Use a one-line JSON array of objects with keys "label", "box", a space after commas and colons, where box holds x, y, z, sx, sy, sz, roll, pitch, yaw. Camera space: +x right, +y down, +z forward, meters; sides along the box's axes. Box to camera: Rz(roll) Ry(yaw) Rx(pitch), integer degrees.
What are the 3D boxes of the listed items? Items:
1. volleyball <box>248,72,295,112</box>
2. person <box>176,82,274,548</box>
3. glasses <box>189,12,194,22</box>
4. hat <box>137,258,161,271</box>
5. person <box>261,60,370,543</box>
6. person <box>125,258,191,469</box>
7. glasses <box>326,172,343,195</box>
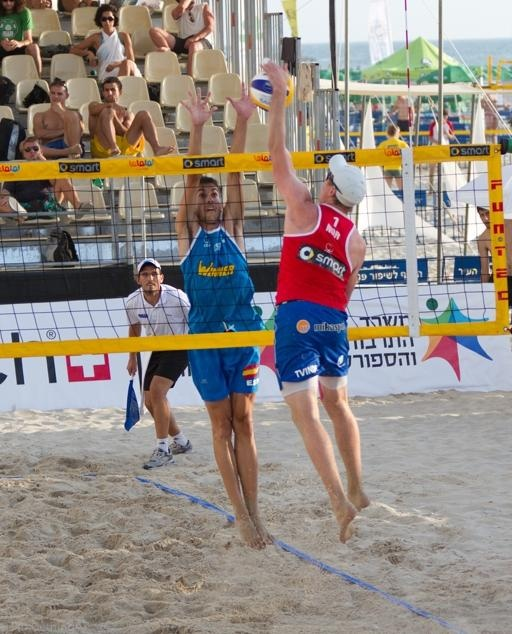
[{"label": "volleyball", "box": [0.062, -1.138, 5.053, 0.275, 0.198, 0.203, 12, 38, 8]}, {"label": "person", "box": [-0.089, 0.050, 4.991, 0.447, 2.208, 0.659, -3, -12, -28]}, {"label": "glasses", "box": [-0.786, -3.717, 12.164, 0.062, 0.136, 0.060, 6, 21, 20]}, {"label": "hat", "box": [-0.687, -0.330, 6.304, 0.121, 0.082, 0.119, -5, 9, -26]}, {"label": "person", "box": [0.289, -0.099, 4.438, 0.451, 2.138, 0.678, -1, 9, 2]}, {"label": "person", "box": [-0.569, 0.298, 6.418, 0.511, 1.324, 0.549, -3, 1, -23]}, {"label": "glasses", "box": [0.357, -0.618, 4.522, 0.029, 0.089, 0.091, -24, 6, 10]}]
